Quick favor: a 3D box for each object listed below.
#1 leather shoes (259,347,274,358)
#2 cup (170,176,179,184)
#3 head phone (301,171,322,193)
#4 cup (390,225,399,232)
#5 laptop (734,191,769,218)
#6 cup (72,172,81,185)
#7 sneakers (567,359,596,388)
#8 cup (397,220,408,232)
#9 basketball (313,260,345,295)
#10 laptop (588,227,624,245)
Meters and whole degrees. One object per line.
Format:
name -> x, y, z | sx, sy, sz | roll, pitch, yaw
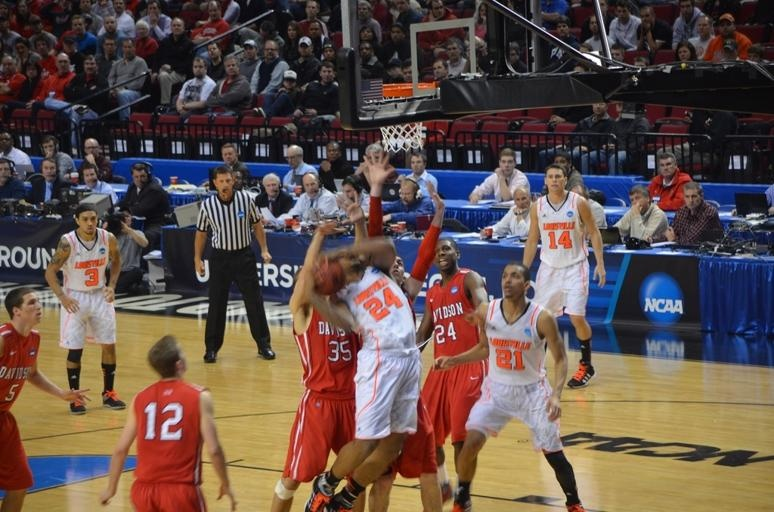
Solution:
leather shoes -> -1.690, 1.366, 13.502 | 0.110, 0.117, 0.258 | -3, 2, -30
cup -> -4.222, -1.529, 19.049 | 0.201, 0.237, 0.206 | 1, 5, 0
head phone -> -1.221, -1.236, 15.858 | 0.244, 0.341, 0.340 | -4, -4, -1
cup -> 0.136, -0.461, 15.472 | 0.110, 0.088, 0.114 | 1, 1, 0
laptop -> 5.636, -0.831, 14.708 | 0.553, 0.399, 0.306 | 5, 12, 34
cup -> -6.126, -1.564, 18.945 | 0.237, 0.268, 0.245 | 0, 7, 0
sneakers -> 2.475, 1.505, 12.171 | 0.174, 0.254, 0.529 | 11, 20, 36
cup -> 0.269, -0.488, 15.466 | 0.146, 0.119, 0.151 | 1, 6, 0
basketball -> -0.503, 0.178, 8.093 | 0.203, 0.289, 0.288 | 8, 9, 15
laptop -> 3.357, -0.308, 14.293 | 0.258, 0.262, 0.329 | -5, 5, 12
